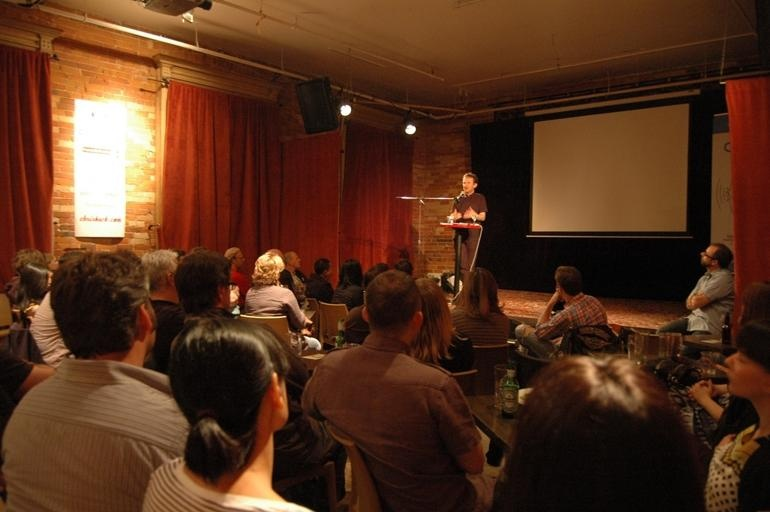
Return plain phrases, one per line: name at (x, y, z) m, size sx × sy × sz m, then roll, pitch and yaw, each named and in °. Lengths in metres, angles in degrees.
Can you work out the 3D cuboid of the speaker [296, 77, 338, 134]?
speaker at (-0.952, -2.071, 7.829) m, size 0.568 × 0.692 × 0.257 m, roll 3°, pitch 5°, yaw 29°
